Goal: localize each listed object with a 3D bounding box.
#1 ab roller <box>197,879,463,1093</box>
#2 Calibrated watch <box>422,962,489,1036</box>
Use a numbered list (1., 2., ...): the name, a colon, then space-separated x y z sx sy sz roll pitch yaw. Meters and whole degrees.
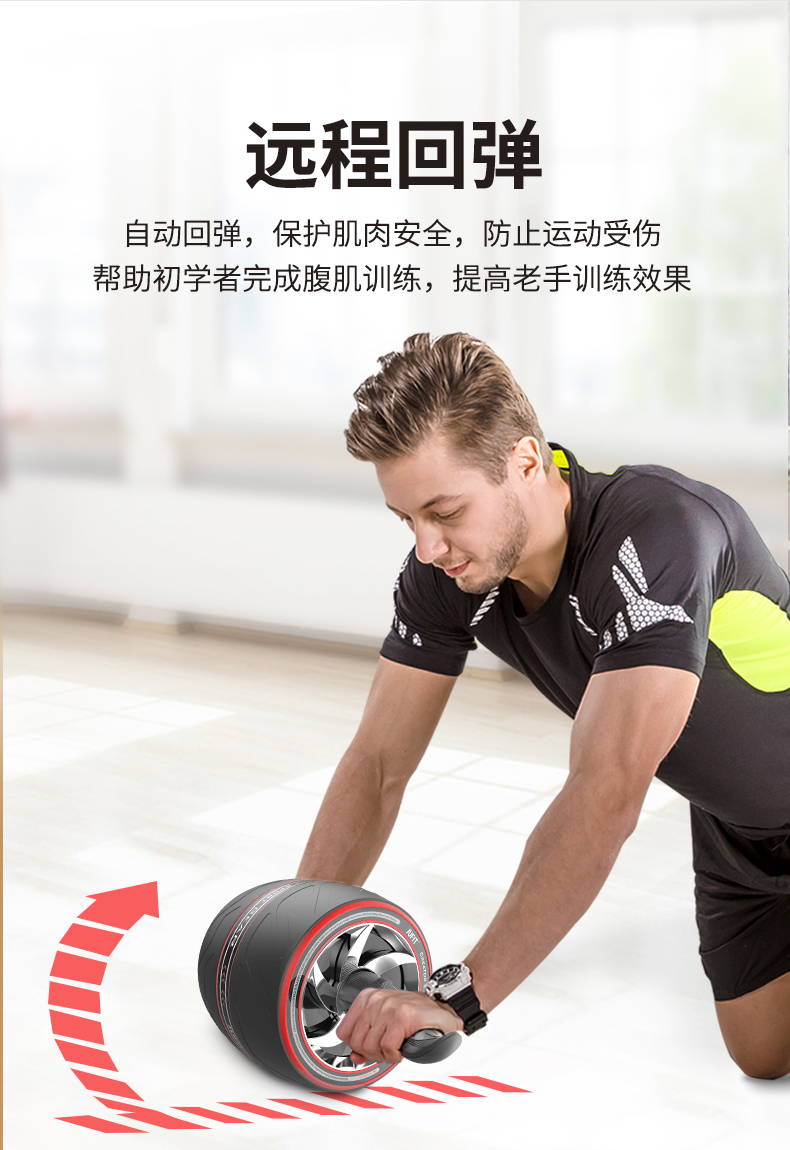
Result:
1. ab roller: -0.102 0.516 1.317 0.266 0.247 0.285 -11 -2 -42
2. Calibrated watch: 0.056 0.373 0.899 0.035 0.055 0.055 -33 9 -15
